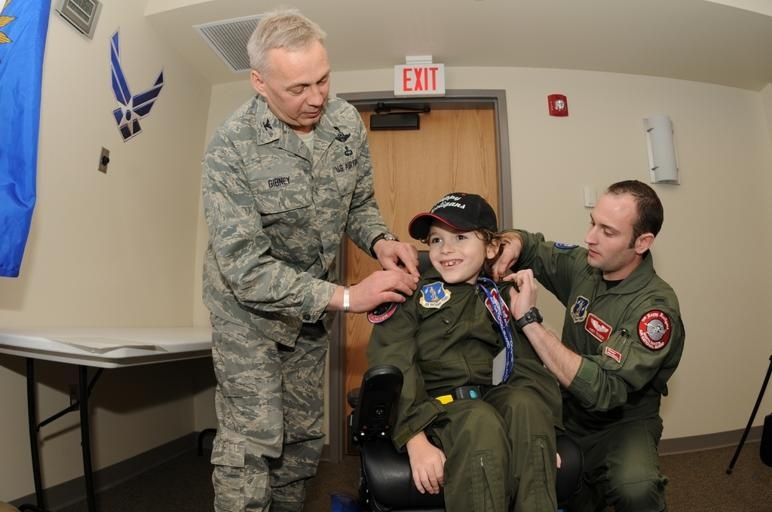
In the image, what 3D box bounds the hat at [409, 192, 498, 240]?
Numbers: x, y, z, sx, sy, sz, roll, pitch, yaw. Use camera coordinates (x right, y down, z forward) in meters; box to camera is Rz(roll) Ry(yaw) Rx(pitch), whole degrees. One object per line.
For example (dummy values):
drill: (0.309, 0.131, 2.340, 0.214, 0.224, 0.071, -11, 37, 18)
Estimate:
hat: (0.360, -0.213, 2.544, 0.412, 0.207, 0.298, 10, -4, -36)
